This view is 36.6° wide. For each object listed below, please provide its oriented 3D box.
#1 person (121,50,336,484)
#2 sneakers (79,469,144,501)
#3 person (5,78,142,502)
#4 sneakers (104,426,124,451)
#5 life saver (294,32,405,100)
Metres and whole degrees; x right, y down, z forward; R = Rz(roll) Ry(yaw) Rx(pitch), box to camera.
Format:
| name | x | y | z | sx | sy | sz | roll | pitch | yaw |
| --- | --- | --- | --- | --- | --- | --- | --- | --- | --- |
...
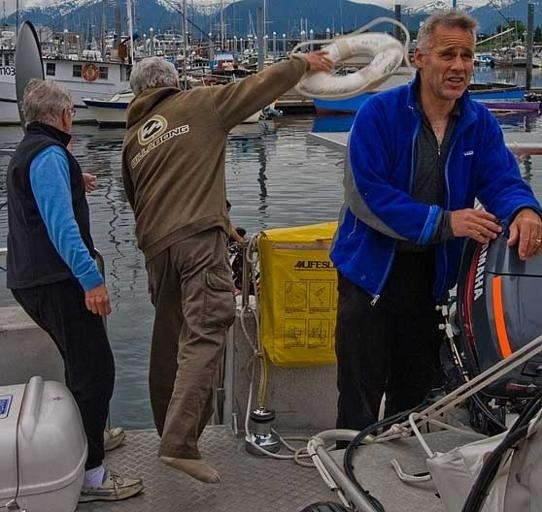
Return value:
| name | x | y | z | sx | sy | sz | roll | pitch | yaw |
| --- | --- | --- | --- | --- | --- | --- | --- | --- | --- |
| person | -0.330 | 0.026 | 3.579 | 0.753 | 1.766 | 0.849 | -11 | 16 | -40 |
| sneakers | -0.649 | 0.950 | 3.397 | 0.275 | 0.114 | 0.104 | -4 | 6 | -6 |
| person | -0.841 | 0.139 | 3.341 | 0.420 | 1.680 | 0.576 | -7 | 14 | -27 |
| sneakers | -0.713 | 0.842 | 3.789 | 0.047 | 0.088 | 0.130 | 7 | 19 | 20 |
| life saver | 0.332 | -0.781 | 3.416 | 0.375 | 0.301 | 0.091 | -22 | -30 | 4 |
